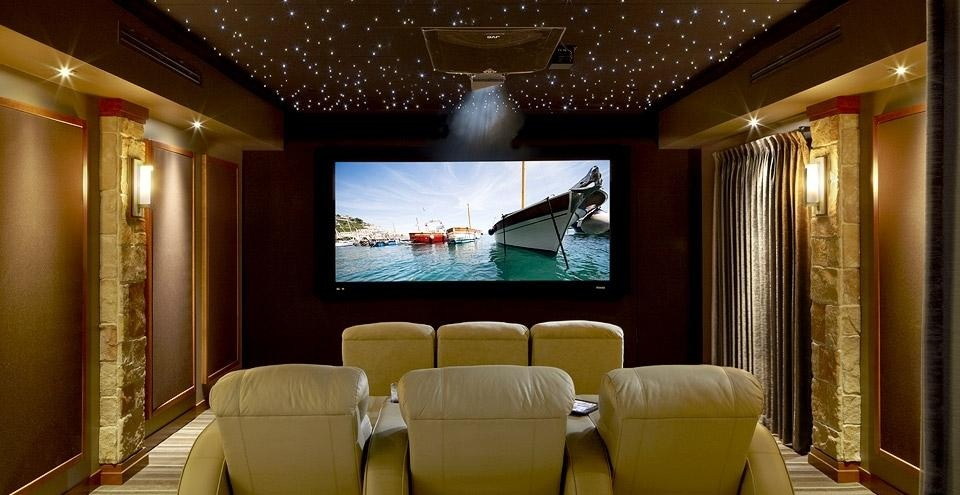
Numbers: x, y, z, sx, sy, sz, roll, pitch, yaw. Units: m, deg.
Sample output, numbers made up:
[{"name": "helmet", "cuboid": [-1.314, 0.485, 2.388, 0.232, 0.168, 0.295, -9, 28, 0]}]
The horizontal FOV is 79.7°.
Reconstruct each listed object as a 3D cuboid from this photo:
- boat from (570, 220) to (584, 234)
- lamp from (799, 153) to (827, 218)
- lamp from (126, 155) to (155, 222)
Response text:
[{"name": "boat", "cuboid": [1.325, -0.281, 7.833, 0.172, 0.114, 0.162, 1, -8, 1]}, {"name": "lamp", "cuboid": [3.364, -0.622, 5.804, 0.136, 0.594, 0.173, 2, -4, -33]}, {"name": "lamp", "cuboid": [-3.398, -0.605, 5.851, 0.123, 0.606, 0.223, -1, -3, 18]}]
